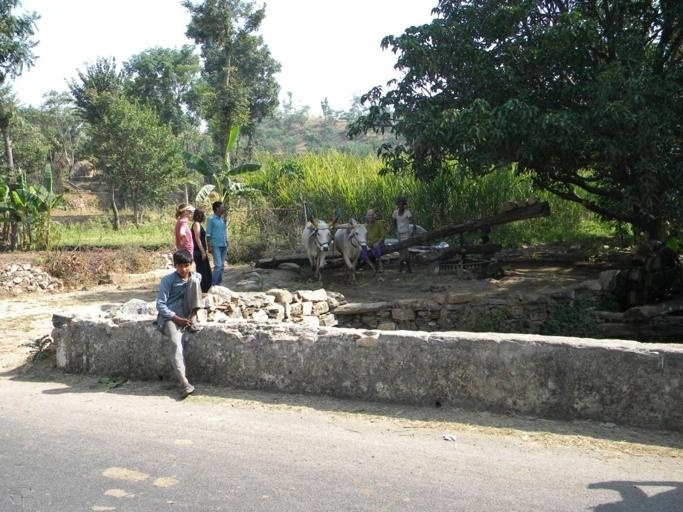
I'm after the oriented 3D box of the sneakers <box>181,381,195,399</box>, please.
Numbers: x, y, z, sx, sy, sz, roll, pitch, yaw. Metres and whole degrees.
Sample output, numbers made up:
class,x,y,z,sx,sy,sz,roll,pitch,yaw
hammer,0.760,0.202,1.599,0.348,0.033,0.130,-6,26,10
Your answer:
class,x,y,z,sx,sy,sz,roll,pitch,yaw
sneakers,-2.340,2.025,9.967,0.211,0.195,0.217,-5,13,-17

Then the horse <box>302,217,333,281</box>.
class,x,y,z,sx,sy,sz,roll,pitch,yaw
horse,-0.589,-0.124,16.300,0.477,1.651,1.343,-5,13,-16

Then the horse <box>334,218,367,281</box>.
class,x,y,z,sx,sy,sz,roll,pitch,yaw
horse,0.165,-0.172,17.196,0.726,1.626,2.467,0,3,-16

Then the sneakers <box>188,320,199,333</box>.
class,x,y,z,sx,sy,sz,roll,pitch,yaw
sneakers,-2.333,1.106,10.407,0.164,0.174,0.175,-2,13,-4

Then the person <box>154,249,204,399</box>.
class,x,y,z,sx,sy,sz,roll,pitch,yaw
person,-2.572,0.999,10.325,0.699,2.026,1.140,-3,13,-11

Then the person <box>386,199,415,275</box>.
class,x,y,z,sx,sy,sz,roll,pitch,yaw
person,1.699,-0.579,17.695,0.577,2.131,1.396,0,13,5
